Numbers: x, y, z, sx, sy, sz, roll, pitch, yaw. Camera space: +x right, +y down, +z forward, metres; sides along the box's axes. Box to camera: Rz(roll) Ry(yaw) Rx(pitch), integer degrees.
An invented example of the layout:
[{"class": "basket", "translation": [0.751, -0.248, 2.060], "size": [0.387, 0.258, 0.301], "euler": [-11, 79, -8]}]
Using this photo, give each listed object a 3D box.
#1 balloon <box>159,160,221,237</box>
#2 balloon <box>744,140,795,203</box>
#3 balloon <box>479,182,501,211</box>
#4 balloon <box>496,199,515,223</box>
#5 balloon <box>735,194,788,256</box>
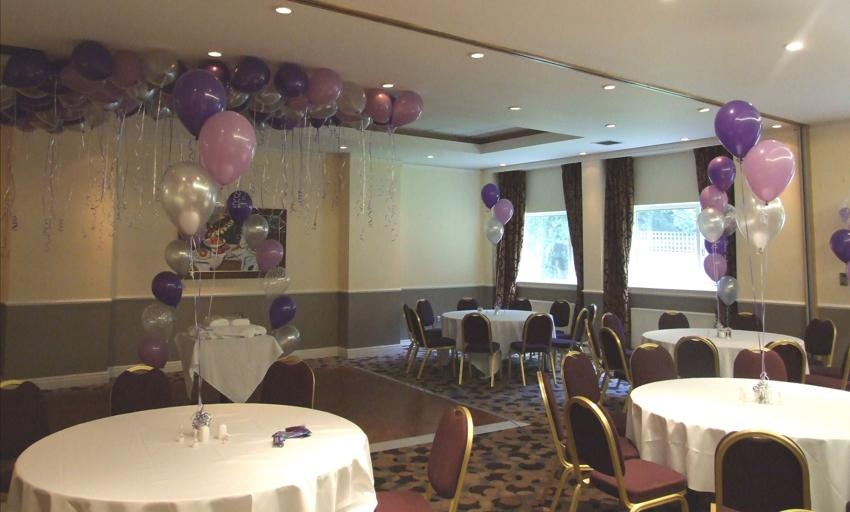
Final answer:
[{"class": "balloon", "translation": [-2.373, -0.578, 6.438], "size": [0.587, 0.751, 0.609], "euler": [-9, -5, -6]}, {"class": "balloon", "translation": [3.939, -0.954, 7.315], "size": [0.582, 0.754, 0.550], "euler": [8, -5, -43]}, {"class": "balloon", "translation": [1.213, -1.125, 12.001], "size": [0.437, 0.727, 0.460], "euler": [1, -4, 0]}, {"class": "balloon", "translation": [1.435, -0.813, 11.760], "size": [0.308, 0.430, 0.240], "euler": [-1, 0, 6]}, {"class": "balloon", "translation": [3.947, -0.392, 7.487], "size": [0.542, 0.734, 0.583], "euler": [2, -1, 7]}]
